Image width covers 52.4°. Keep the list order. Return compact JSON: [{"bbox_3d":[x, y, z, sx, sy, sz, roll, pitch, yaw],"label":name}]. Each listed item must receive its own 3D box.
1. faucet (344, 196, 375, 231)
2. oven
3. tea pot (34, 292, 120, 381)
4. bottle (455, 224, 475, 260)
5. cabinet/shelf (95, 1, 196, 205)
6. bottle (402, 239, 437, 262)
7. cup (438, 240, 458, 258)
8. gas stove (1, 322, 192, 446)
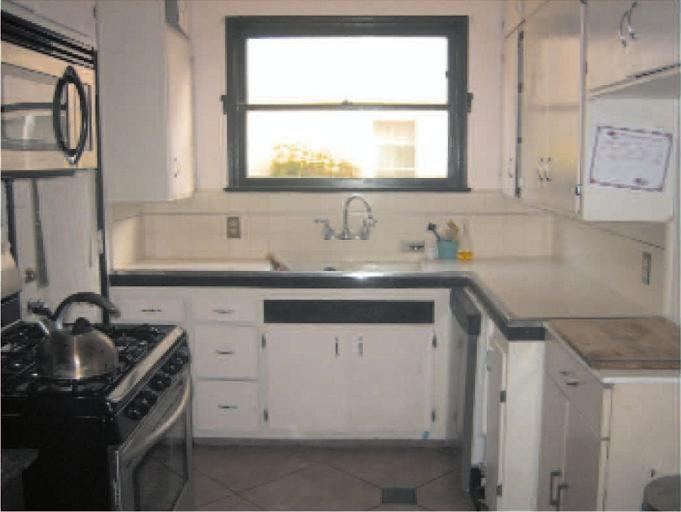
[{"bbox_3d":[0.111,-0.263,4.089,0.192,0.211,0.327,0,15,1],"label":"faucet"},{"bbox_3d":[-0.854,0.619,2.624,0.500,0.698,0.740,0,4,-1],"label":"oven"},{"bbox_3d":[-0.941,0.294,2.527,0.353,0.303,0.274,5,6,0],"label":"tea pot"},{"bbox_3d":[0.741,-0.082,4.098,0.087,0.220,0.109,3,15,10],"label":"bottle"},{"bbox_3d":[-1.010,-0.823,3.764,0.317,1.056,0.659,9,17,29],"label":"cabinet/shelf"},{"bbox_3d":[0.496,-0.040,4.187,0.143,0.107,0.143,0,6,0],"label":"bottle"},{"bbox_3d":[0.640,-0.035,4.121,0.112,0.086,0.099,2,4,2],"label":"cup"},{"bbox_3d":[-0.885,0.470,2.367,0.374,0.167,0.513,-1,5,-6],"label":"gas stove"}]
